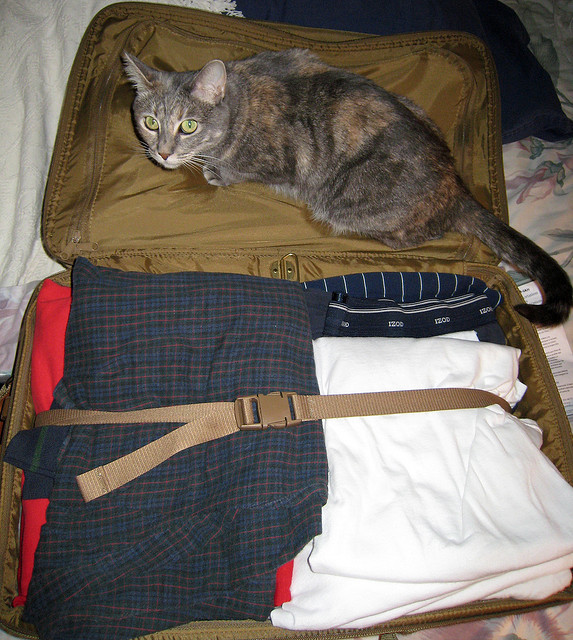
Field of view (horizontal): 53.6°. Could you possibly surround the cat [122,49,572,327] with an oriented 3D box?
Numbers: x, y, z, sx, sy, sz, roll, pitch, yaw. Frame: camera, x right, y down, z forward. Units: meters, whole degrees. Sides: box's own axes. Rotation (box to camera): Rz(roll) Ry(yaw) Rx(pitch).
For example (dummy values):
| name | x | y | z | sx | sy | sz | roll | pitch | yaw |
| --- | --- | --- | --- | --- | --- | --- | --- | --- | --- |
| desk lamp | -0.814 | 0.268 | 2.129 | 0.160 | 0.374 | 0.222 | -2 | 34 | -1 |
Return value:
| name | x | y | z | sx | sy | sz | roll | pitch | yaw |
| --- | --- | --- | --- | --- | --- | --- | --- | --- | --- |
| cat | 0.317 | -0.244 | 1.453 | 1.277 | 0.417 | 0.406 | 24 | 80 | -8 |
